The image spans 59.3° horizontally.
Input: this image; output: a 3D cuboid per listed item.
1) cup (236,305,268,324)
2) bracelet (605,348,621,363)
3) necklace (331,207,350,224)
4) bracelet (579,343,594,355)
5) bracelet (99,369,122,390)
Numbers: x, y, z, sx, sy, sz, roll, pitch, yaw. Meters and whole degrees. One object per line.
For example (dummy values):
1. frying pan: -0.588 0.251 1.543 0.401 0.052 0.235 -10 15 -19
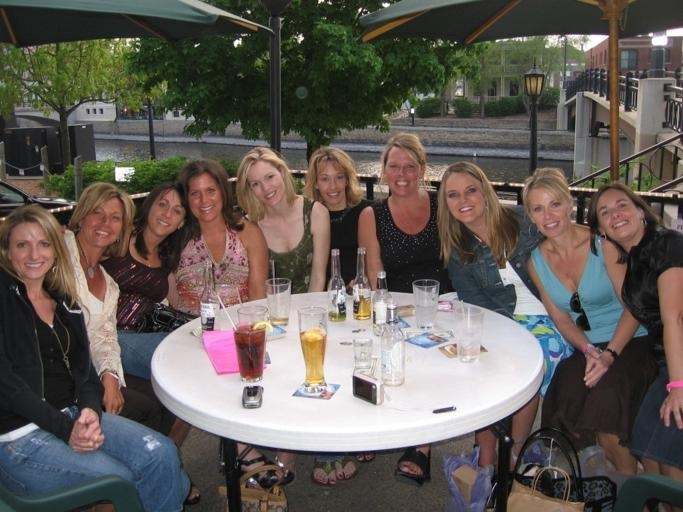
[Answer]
1. cup: -0.484 0.322 3.250 0.115 0.106 0.135 0 3 6
2. bracelet: 1.708 0.634 3.778 0.074 0.035 0.067 -1 8 -34
3. necklace: -0.009 -0.362 5.427 0.112 0.135 0.133 -6 12 -37
4. bracelet: 1.567 0.595 3.824 0.025 0.057 0.066 -19 2 -29
5. bracelet: -1.412 0.761 3.668 0.099 0.074 0.120 11 1 -17
